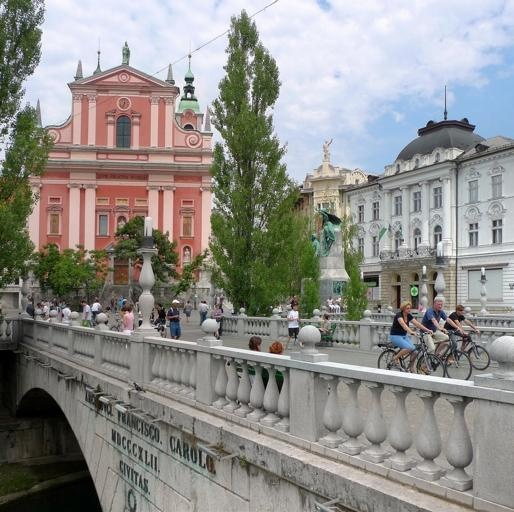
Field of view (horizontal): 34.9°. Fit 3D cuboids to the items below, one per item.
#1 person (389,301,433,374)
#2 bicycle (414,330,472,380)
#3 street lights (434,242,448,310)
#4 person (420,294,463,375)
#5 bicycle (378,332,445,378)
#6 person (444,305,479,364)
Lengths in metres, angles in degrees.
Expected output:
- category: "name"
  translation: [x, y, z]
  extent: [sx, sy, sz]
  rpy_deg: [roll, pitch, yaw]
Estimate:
- category: "person"
  translation: [2.729, 1.498, 14.631]
  extent: [0.671, 1.468, 1.627]
  rpy_deg: [-4, 2, 12]
- category: "bicycle"
  translation: [3.344, 1.880, 14.712]
  extent: [0.571, 0.949, 1.314]
  rpy_deg: [1, -6, -27]
- category: "street lights"
  translation: [5.437, 0.611, 24.255]
  extent: [0.362, 2.116, 0.387]
  rpy_deg: [7, -10, -33]
- category: "person"
  translation: [3.416, 1.412, 15.402]
  extent: [0.463, 1.279, 0.665]
  rpy_deg: [-13, 22, -37]
- category: "bicycle"
  translation: [2.743, 1.815, 14.635]
  extent: [1.269, 0.965, 0.590]
  rpy_deg: [1, -5, 33]
- category: "person"
  translation: [4.129, 1.603, 16.507]
  extent: [0.364, 1.314, 1.228]
  rpy_deg: [2, 0, -27]
